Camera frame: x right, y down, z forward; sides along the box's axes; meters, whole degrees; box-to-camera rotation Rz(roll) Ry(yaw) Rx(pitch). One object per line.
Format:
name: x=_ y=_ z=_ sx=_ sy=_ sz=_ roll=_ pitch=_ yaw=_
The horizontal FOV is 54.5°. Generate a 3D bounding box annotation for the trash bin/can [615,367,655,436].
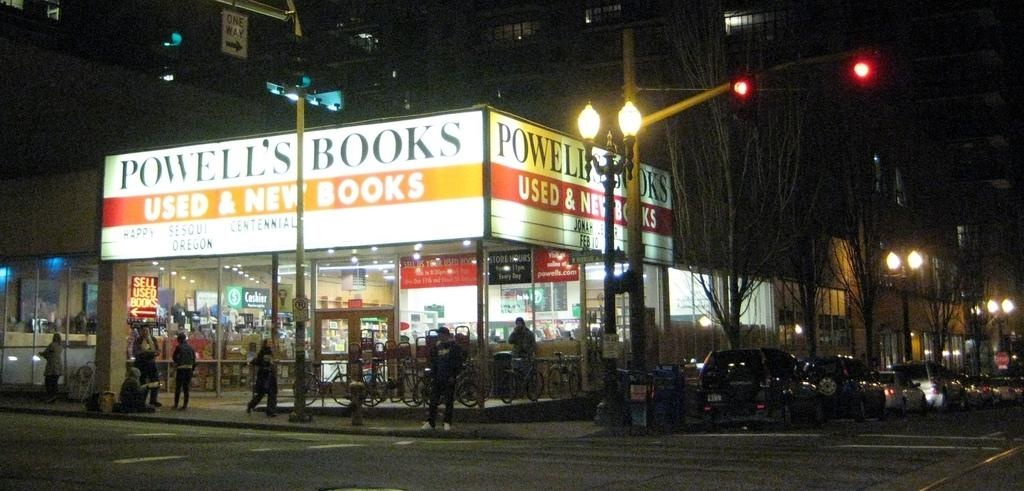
trash bin/can: x=6.640 y=8.218 z=53.828 sx=1.952 sy=3.723 sz=1.852 roll=-1 pitch=-2 yaw=-12
